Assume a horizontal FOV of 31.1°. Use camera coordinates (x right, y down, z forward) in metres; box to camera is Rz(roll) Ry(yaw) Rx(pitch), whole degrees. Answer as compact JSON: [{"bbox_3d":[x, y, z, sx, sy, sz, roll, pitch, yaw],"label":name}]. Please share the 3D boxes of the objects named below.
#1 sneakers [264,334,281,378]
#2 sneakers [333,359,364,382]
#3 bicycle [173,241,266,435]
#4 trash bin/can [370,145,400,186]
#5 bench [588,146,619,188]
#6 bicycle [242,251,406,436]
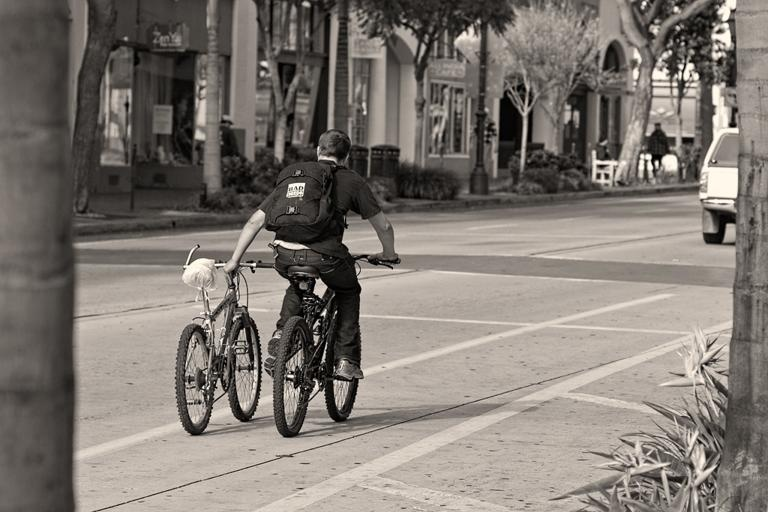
[{"bbox_3d":[-0.776,0.704,9.740,0.146,0.321,0.109,5,1,-19],"label":"sneakers"},{"bbox_3d":[-0.247,0.851,10.096,0.124,0.092,0.230,1,-1,20],"label":"sneakers"},{"bbox_3d":[-1.208,0.648,9.918,0.318,1.229,1.007,4,7,27],"label":"bicycle"},{"bbox_3d":[0.115,-2.185,34.731,0.810,1.049,0.780,4,-15,-10],"label":"trash bin/can"},{"bbox_3d":[7.783,-3.019,47.289,0.966,1.060,0.941,0,14,21],"label":"bench"},{"bbox_3d":[-0.378,0.698,10.184,0.876,0.857,1.416,3,8,16],"label":"bicycle"}]
